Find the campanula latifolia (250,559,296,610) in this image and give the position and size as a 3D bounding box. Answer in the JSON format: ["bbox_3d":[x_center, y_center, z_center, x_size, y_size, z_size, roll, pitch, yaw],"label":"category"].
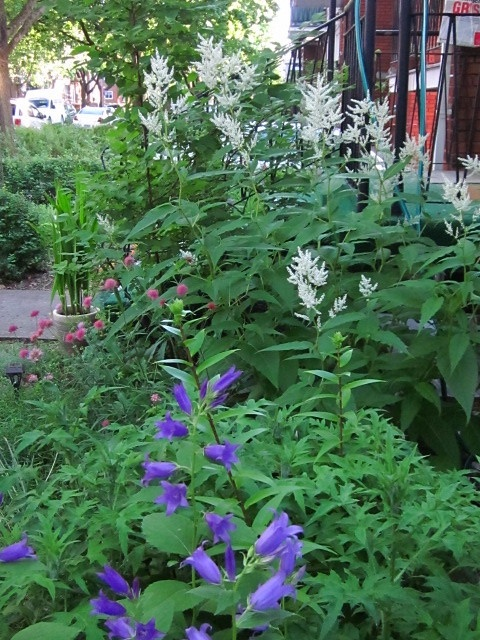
[{"bbox_3d":[0.038,0.333,0.684,0.052,0.064,0.041,4,8,15],"label":"campanula latifolia"}]

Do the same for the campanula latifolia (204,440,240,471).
[{"bbox_3d":[-0.016,0.208,0.870,0.065,0.046,0.042,6,-6,27],"label":"campanula latifolia"}]
